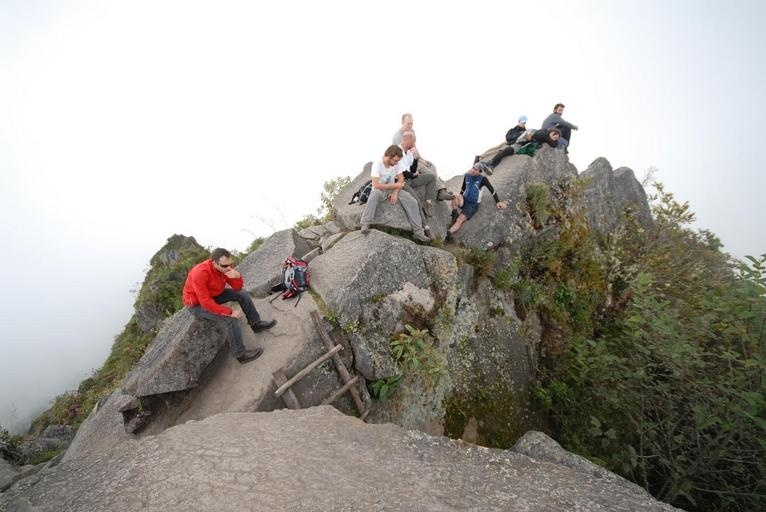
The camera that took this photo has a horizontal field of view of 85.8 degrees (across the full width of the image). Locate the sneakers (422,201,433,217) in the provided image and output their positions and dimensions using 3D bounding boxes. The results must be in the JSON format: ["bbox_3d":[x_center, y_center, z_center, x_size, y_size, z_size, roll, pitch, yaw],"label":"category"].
[{"bbox_3d":[1.343,-1.429,12.364,0.230,0.555,0.201,-22,-25,-23],"label":"sneakers"}]

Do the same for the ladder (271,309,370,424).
[{"bbox_3d":[-1.580,2.819,10.733,1.834,2.799,0.756,-31,8,-13],"label":"ladder"}]

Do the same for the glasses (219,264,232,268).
[{"bbox_3d":[-3.778,0.238,9.964,0.277,0.099,0.106,9,-22,-40],"label":"glasses"}]

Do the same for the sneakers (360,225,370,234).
[{"bbox_3d":[-0.483,-0.774,11.419,0.215,0.232,0.244,-40,-38,-36],"label":"sneakers"}]
